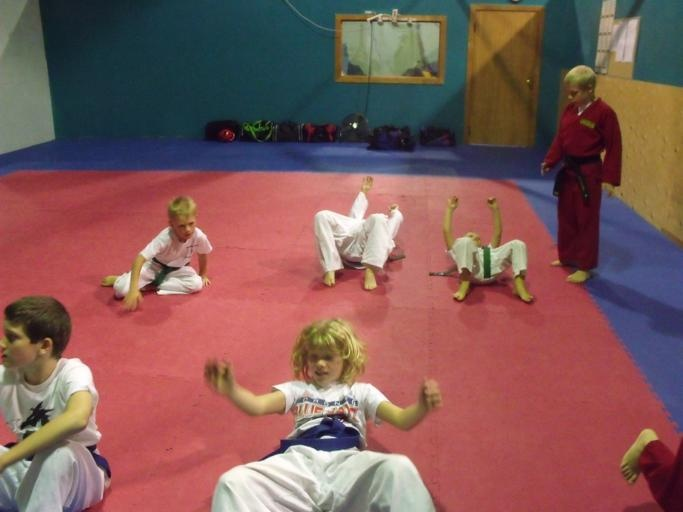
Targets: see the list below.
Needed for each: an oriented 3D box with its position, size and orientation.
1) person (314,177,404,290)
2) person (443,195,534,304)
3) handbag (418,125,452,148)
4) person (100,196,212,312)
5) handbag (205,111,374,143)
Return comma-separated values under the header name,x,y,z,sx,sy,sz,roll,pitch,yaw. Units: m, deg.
name,x,y,z,sx,sy,sz,roll,pitch,yaw
person,0.136,-0.193,4.961,0.609,0.832,0.550,5,13,21
person,1.116,-0.098,4.908,0.510,0.872,0.985,-1,-1,2
handbag,1.611,-1.994,10.340,0.578,0.336,0.253,1,13,4
person,-1.454,-0.004,4.685,0.910,0.961,0.745,-4,40,-26
handbag,-0.789,-2.194,10.607,2.010,0.417,0.505,0,19,0
